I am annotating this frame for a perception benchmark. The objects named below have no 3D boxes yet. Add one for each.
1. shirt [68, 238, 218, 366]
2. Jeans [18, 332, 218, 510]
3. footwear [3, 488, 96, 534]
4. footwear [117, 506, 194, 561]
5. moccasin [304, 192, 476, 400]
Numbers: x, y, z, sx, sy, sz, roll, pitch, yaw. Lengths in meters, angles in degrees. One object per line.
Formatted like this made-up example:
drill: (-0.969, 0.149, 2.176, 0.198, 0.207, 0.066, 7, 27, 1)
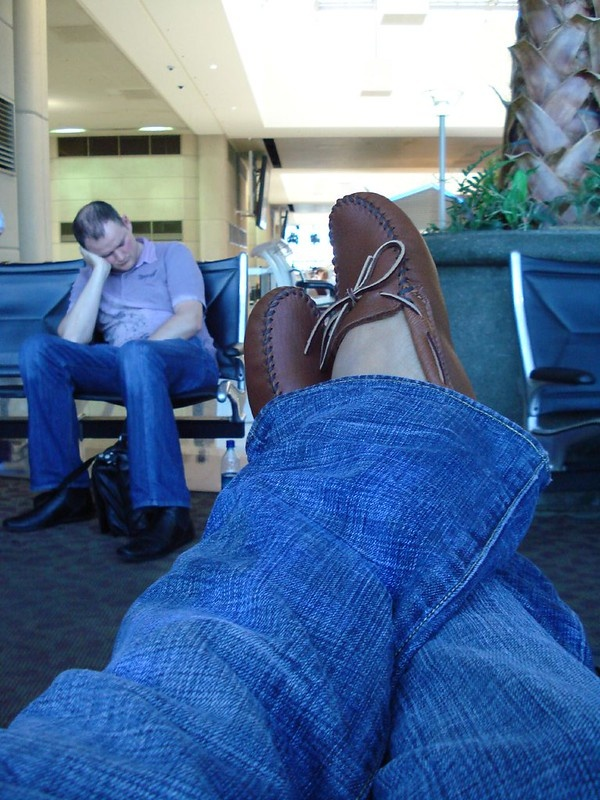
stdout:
shirt: (-0.485, -0.332, 2.014, 0.335, 0.446, 0.163, 8, 1, 7)
Jeans: (-0.469, -0.082, 2.004, 0.441, 0.600, 0.745, -3, 9, 9)
footwear: (-0.655, 0.299, 1.828, 0.088, 0.112, 0.264, 0, -1, 40)
footwear: (-0.359, 0.316, 1.565, 0.076, 0.124, 0.209, -16, -13, 21)
moccasin: (0.128, -0.197, 1.030, 0.146, 0.461, 0.197, -22, -25, 38)
